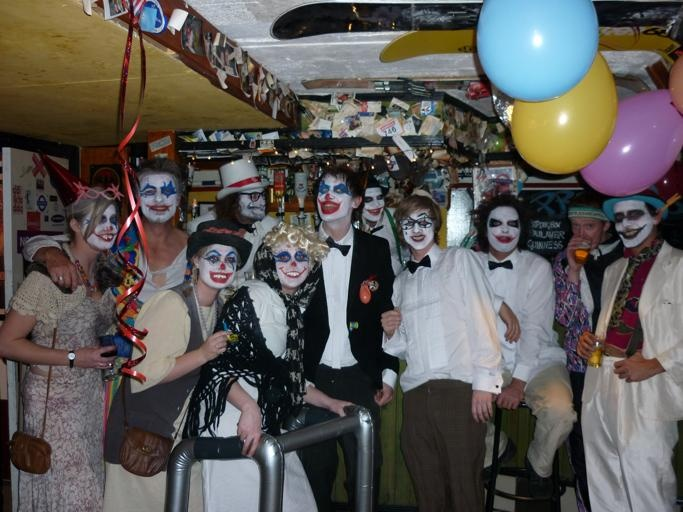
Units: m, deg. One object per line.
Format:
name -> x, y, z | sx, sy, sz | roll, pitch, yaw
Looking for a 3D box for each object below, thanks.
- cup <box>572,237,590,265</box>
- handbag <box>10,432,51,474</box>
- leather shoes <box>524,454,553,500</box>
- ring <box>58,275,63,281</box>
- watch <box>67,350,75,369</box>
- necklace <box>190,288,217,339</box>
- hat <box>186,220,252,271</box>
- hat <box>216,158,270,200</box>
cup -> 1.681, -0.041, 4.292 | 0.136, 0.137, 0.216 | 6, 44, 26
handbag -> -1.744, 1.102, 3.430 | 0.231, 0.198, 0.093 | 5, 3, 25
leather shoes -> 1.338, 1.522, 4.142 | 0.135, 0.310, 0.122 | -1, 8, 14
ring -> -1.609, 0.124, 3.488 | 0.022, 0.030, 0.009 | 8, -7, -4
watch -> -1.548, 0.590, 3.496 | 0.043, 0.098, 0.062 | 0, 0, -18
necklace -> -0.753, 0.320, 3.308 | 0.169, 0.227, 0.063 | 1, 3, 14
hat -> -0.691, -0.107, 3.404 | 0.281, 0.117, 0.324 | 8, -32, -16
hat -> -0.858, -0.688, 5.274 | 0.392, 0.215, 0.328 | -20, 7, 16
